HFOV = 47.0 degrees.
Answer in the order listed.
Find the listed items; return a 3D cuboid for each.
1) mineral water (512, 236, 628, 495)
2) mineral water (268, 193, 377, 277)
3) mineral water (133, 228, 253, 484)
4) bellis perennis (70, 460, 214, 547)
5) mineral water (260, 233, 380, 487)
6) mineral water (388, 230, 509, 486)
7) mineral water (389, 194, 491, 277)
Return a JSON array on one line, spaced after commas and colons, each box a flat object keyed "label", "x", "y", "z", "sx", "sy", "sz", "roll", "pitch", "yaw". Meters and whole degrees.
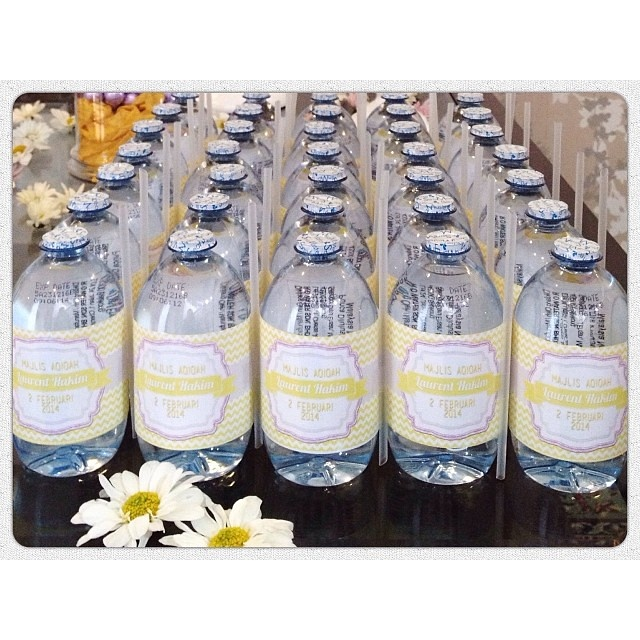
[{"label": "mineral water", "x": 0.245, "y": 0.053, "z": 0.713, "sx": 0.114, "sy": 0.252, "sz": 0.079, "roll": 3, "pitch": 18, "yaw": 15}, {"label": "mineral water", "x": 0.000, "y": -0.106, "z": 0.797, "sx": 0.096, "sy": 0.105, "sz": 0.099, "roll": -1, "pitch": 31, "yaw": -1}, {"label": "mineral water", "x": -0.132, "y": 0.041, "z": 0.732, "sx": 0.133, "sy": 0.256, "sz": 0.102, "roll": -4, "pitch": 18, "yaw": -8}, {"label": "bellis perennis", "x": -0.185, "y": 0.179, "z": 0.715, "sx": 0.093, "sy": 0.036, "sz": 0.089, "roll": 18, "pitch": 39, "yaw": 35}, {"label": "mineral water", "x": 0.000, "y": 0.047, "z": 0.709, "sx": 0.120, "sy": 0.255, "sz": 0.087, "roll": -3, "pitch": 17, "yaw": -5}, {"label": "mineral water", "x": 0.124, "y": 0.044, "z": 0.719, "sx": 0.118, "sy": 0.252, "sz": 0.091, "roll": -4, "pitch": 17, "yaw": -6}, {"label": "mineral water", "x": 0.132, "y": -0.103, "z": 0.826, "sx": 0.095, "sy": 0.145, "sz": 0.103, "roll": 0, "pitch": 27, "yaw": 4}]
